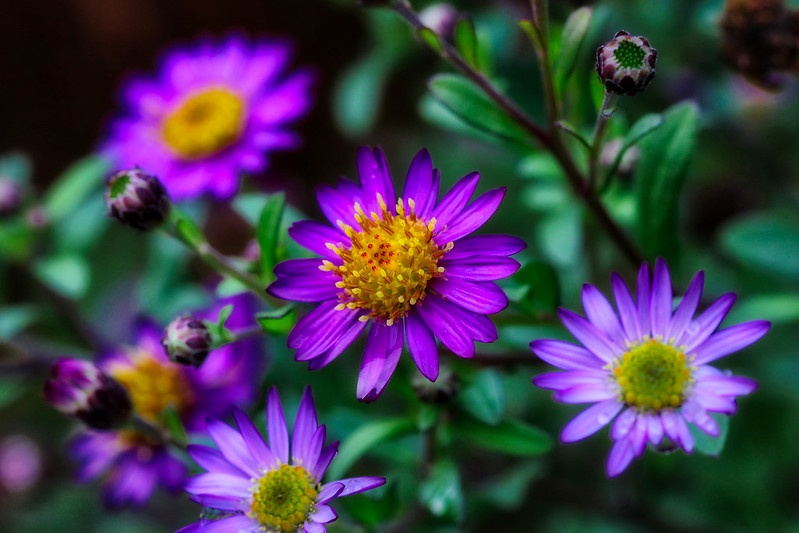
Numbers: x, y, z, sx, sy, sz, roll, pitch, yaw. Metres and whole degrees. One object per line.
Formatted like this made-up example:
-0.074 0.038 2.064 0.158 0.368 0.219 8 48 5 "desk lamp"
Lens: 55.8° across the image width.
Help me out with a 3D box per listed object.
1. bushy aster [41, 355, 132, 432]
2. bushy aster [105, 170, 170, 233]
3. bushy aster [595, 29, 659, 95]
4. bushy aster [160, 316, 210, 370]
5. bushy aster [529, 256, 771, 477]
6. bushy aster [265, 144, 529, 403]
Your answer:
-0.585 0.245 1.453 0.101 0.172 0.083 -49 39 3 "bushy aster"
-0.484 -0.126 1.449 0.108 0.112 0.114 15 83 46 "bushy aster"
0.396 -0.355 1.379 0.095 0.096 0.112 27 83 5 "bushy aster"
-0.390 0.140 1.393 0.077 0.090 0.089 -10 66 46 "bushy aster"
0.427 0.164 1.288 0.402 0.198 0.292 -12 50 -5 "bushy aster"
-0.015 0.006 1.334 0.425 0.243 0.381 19 54 19 "bushy aster"
